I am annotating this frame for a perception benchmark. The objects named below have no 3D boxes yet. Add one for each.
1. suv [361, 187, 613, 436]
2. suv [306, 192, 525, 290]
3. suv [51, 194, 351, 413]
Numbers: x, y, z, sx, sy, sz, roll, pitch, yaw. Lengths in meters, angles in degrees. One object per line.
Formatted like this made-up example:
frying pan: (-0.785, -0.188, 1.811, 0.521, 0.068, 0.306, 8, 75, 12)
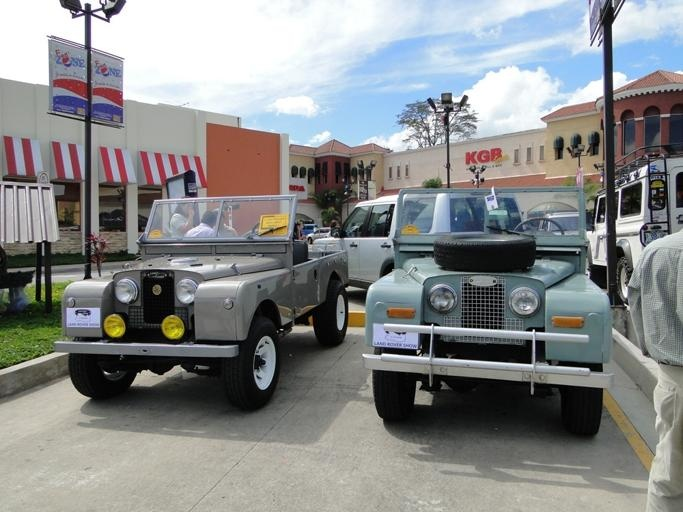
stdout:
suv: (1.493, 0.486, 5.325, 2.189, 2.414, 2.013, 1, 7, 18)
suv: (1.060, -0.193, 7.975, 1.424, 1.280, 2.498, -3, 6, -33)
suv: (-1.604, 0.421, 6.486, 2.175, 2.376, 3.271, 2, 7, 23)
